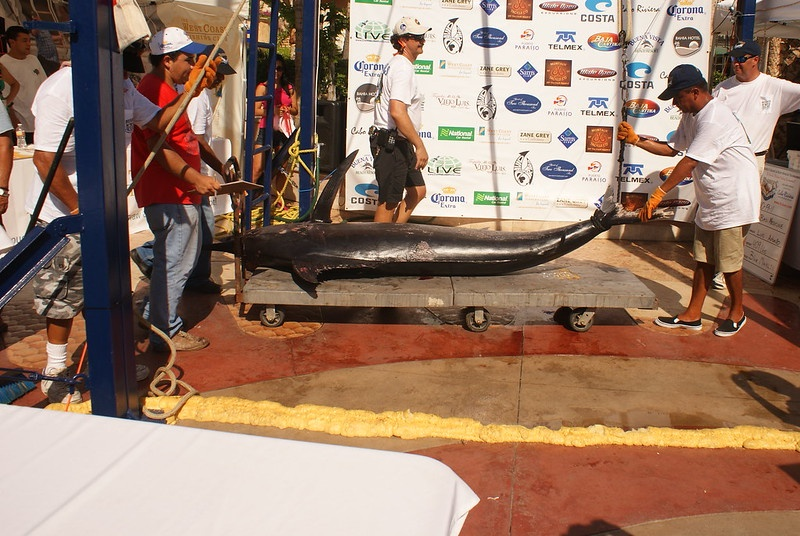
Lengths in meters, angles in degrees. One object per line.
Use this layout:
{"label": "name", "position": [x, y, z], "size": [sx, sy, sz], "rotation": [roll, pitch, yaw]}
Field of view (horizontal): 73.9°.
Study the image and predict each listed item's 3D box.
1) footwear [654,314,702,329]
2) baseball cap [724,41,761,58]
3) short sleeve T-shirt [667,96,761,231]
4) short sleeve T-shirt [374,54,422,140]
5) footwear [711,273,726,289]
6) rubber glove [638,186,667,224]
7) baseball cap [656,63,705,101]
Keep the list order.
{"label": "footwear", "position": [2.558, 0.504, 4.904], "size": [0.401, 0.100, 0.146], "rotation": [4, 4, 20]}
{"label": "baseball cap", "position": [3.682, -2.320, 5.670], "size": [0.321, 0.128, 0.191], "rotation": [-1, 20, 1]}
{"label": "short sleeve T-shirt", "position": [2.821, -0.856, 4.593], "size": [0.707, 1.137, 0.378], "rotation": [13, 27, 21]}
{"label": "short sleeve T-shirt", "position": [-0.009, -1.874, 5.676], "size": [0.504, 0.763, 0.407], "rotation": [2, 25, -2]}
{"label": "footwear", "position": [3.432, 0.146, 5.711], "size": [0.136, 0.130, 0.355], "rotation": [-2, 11, 15]}
{"label": "rubber glove", "position": [2.208, -0.568, 4.654], "size": [0.154, 0.331, 0.331], "rotation": [13, 25, 21]}
{"label": "baseball cap", "position": [2.468, -1.606, 4.595], "size": [0.316, 0.277, 0.245], "rotation": [13, 25, 24]}
